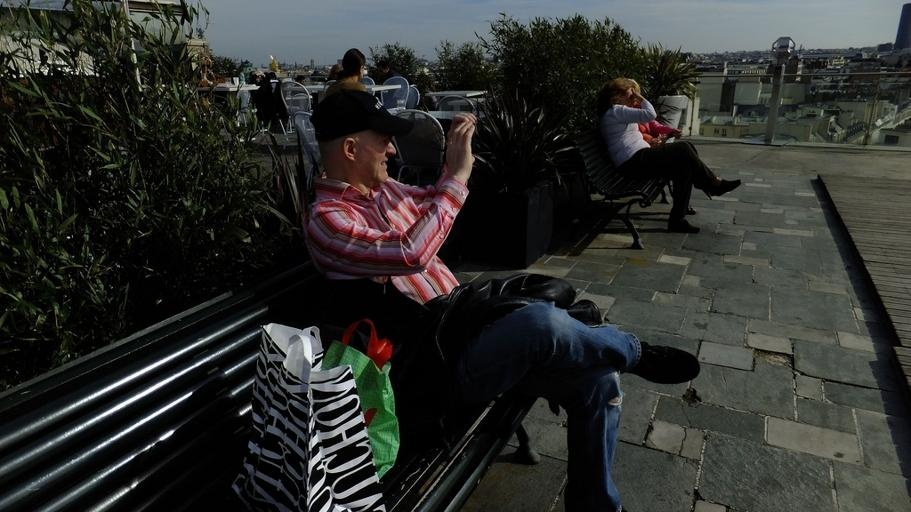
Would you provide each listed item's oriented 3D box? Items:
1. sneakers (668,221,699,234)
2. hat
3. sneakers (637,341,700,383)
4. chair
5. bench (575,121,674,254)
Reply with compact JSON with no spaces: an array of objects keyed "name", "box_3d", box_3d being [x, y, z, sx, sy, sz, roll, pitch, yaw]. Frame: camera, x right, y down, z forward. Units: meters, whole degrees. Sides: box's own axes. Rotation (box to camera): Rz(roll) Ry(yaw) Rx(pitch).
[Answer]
[{"name":"sneakers","box_3d":[2.624,-0.342,5.403,0.400,0.158,0.128,4,37,18]},{"name":"hat","box_3d":[-0.449,-0.654,2.210,0.382,0.178,0.222,-16,23,-7]},{"name":"sneakers","box_3d":[1.020,0.531,2.293,0.336,0.120,0.175,7,60,3]},{"name":"chair","box_3d":[-0.320,-0.572,2.182,0.814,0.384,0.435,2,28,-2]},{"name":"bench","box_3d":[1.949,-0.783,5.410,0.718,0.859,1.635,-3,23,27]}]
